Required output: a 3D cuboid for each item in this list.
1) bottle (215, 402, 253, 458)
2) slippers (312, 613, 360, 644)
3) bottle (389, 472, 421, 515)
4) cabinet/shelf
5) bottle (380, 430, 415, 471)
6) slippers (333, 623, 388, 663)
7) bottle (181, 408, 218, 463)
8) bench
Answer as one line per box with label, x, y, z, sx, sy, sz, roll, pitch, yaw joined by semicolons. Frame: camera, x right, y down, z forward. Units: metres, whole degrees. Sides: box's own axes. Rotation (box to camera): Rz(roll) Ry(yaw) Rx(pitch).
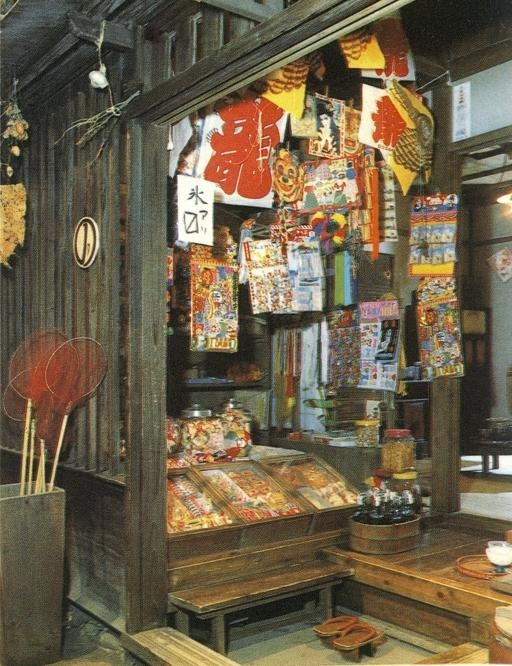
bottle;-0.119;0.538;4.607;0.105;0.314;0.216;-5;-5;43
slippers;0.395;1.411;3.947;0.115;0.040;0.201;-3;-4;40
bottle;0.838;0.893;4.574;0.158;0.221;0.423;-2;-3;9
cabinet/shelf;-0.247;0.317;5.441;0.673;0.463;0.220;0;6;-30
bottle;0.837;0.687;4.835;0.184;0.234;0.166;-2;-4;9
slippers;0.464;1.421;3.782;0.132;0.071;0.211;-2;-2;40
bottle;-0.300;0.546;4.449;0.204;0.292;0.136;-1;-4;-8
bench;0.035;1.348;4.007;0.920;0.332;0.290;2;-4;-37
